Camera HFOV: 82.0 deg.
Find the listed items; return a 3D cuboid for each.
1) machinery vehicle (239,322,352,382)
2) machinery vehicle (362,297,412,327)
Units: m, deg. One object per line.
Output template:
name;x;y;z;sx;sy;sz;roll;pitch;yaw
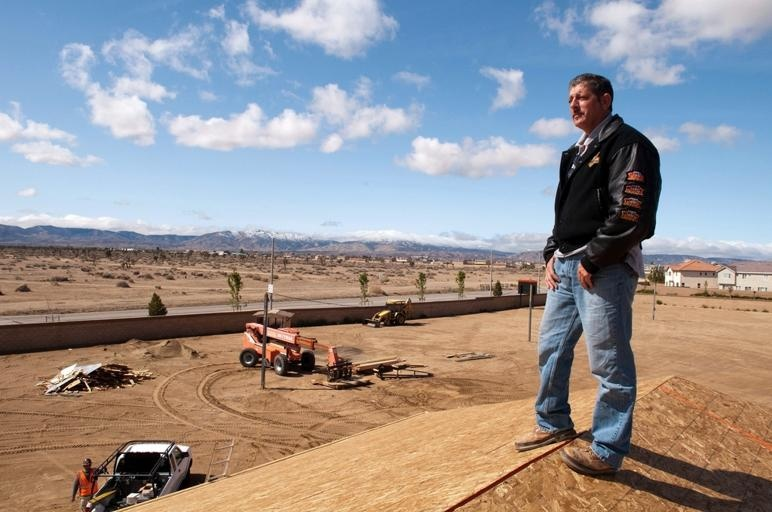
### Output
machinery vehicle;-4.298;4.372;20.028;5.678;1.876;2.307;1;0;36
machinery vehicle;0.176;4.334;34.594;3.075;1.624;1.696;-1;2;-35
